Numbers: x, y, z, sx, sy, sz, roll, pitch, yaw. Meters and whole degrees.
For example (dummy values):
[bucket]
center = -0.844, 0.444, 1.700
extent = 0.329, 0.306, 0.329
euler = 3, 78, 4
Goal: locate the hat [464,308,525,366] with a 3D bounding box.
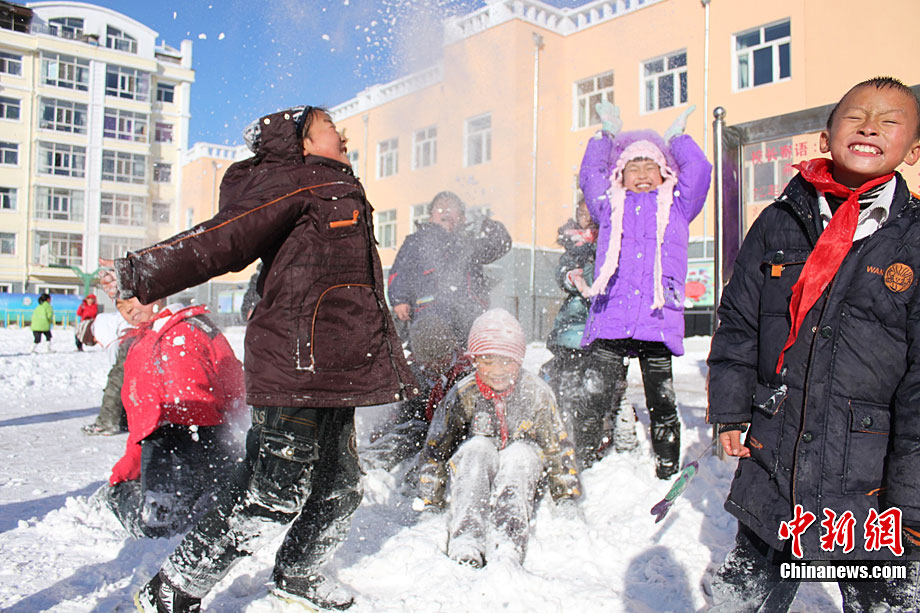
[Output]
[hat]
center = 0.241, 0.197, 5.392
extent = 0.291, 0.316, 0.353
euler = 6, 1, 0

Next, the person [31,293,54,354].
[person]
center = -8.802, 0.310, 17.788
extent = 0.381, 1.108, 3.909
euler = -1, 1, -26
